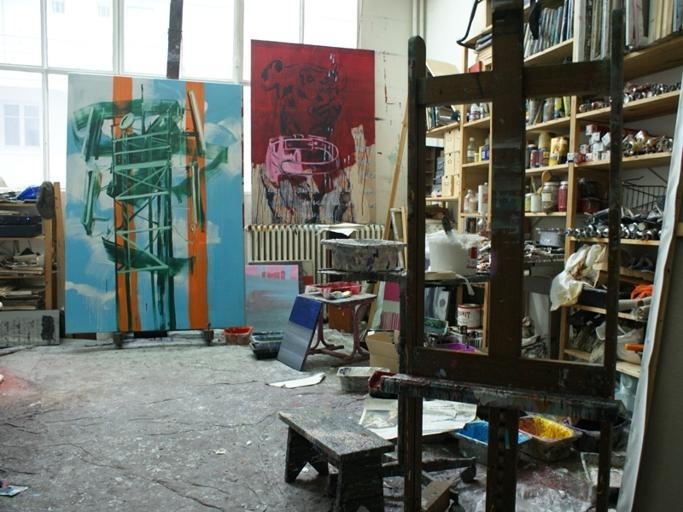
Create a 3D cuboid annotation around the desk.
[{"bbox_3d":[-0.048,0.657,5.754,0.595,0.652,0.677,-2,3,-40],"label":"desk"}]
